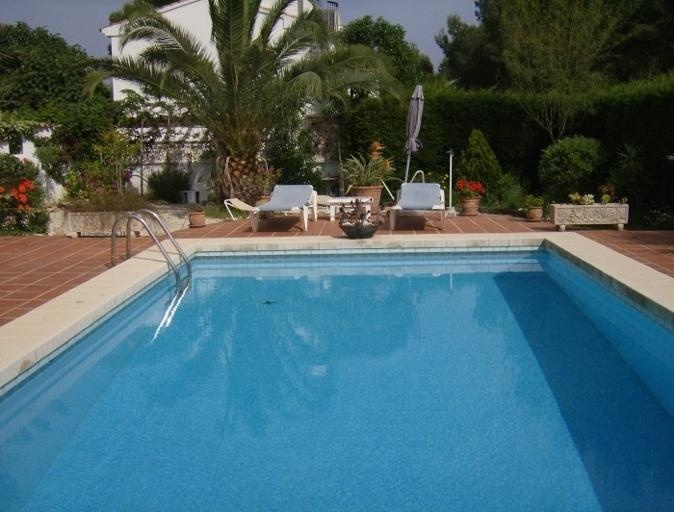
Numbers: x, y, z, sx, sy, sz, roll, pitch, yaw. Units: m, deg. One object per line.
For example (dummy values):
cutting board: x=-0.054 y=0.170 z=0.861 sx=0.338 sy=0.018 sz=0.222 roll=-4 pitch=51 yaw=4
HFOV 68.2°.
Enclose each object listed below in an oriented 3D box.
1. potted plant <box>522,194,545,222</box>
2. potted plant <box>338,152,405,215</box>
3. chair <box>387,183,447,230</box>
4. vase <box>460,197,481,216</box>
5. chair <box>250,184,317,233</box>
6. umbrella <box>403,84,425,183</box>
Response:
potted plant: x=4.283 y=-1.000 z=10.805 sx=0.343 sy=0.493 sz=0.433 roll=3 pitch=13 yaw=15
potted plant: x=0.832 y=-1.752 z=12.541 sx=1.190 sy=1.451 sz=1.285 roll=-3 pitch=13 yaw=24
chair: x=1.645 y=-0.953 z=10.124 sx=0.689 sy=0.834 sz=1.441 roll=1 pitch=18 yaw=3
vase: x=3.172 y=-1.171 z=11.972 sx=0.361 sy=0.373 sz=0.411 roll=0 pitch=3 yaw=2
chair: x=-1.043 y=-1.024 z=10.495 sx=1.168 sy=0.896 sz=2.004 roll=-1 pitch=14 yaw=1
umbrella: x=1.852 y=-2.925 z=11.915 sx=0.400 sy=2.213 sz=1.103 roll=1 pitch=12 yaw=8
